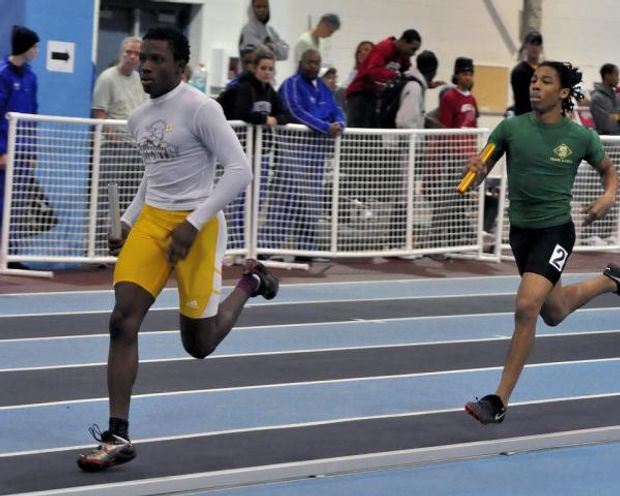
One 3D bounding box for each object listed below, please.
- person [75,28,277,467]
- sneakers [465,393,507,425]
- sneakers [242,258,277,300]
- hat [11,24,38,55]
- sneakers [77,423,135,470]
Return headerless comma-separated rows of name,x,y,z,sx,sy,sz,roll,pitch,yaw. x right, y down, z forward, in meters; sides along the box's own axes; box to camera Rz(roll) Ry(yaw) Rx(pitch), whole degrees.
person,-0.821,-0.080,5.639,1.492,2.473,0.899,-5,13,-32
sneakers,1.095,1.006,5.812,0.284,0.131,0.122,0,-32,-47
sneakers,-0.344,0.232,6.577,0.171,0.128,0.377,-5,-23,16
hat,-2.968,-2.152,9.627,0.340,0.300,0.245,-4,17,-24
sneakers,-1.164,1.114,5.243,0.346,0.234,0.122,-5,-10,-40
